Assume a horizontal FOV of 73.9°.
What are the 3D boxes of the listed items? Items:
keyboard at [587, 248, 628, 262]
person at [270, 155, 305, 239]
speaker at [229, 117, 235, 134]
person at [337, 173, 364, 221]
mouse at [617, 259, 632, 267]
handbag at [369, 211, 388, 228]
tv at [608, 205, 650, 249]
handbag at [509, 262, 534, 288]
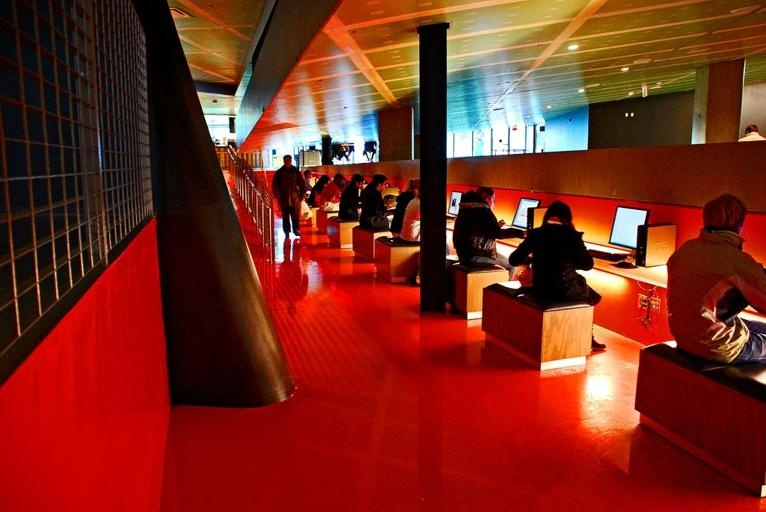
[{"bbox_3d":[2.245,0.000,5.044,0.245,0.069,0.280,1,13,0],"label":"keyboard"},{"bbox_3d":[-2.153,-1.303,11.436,0.727,1.902,1.024,0,11,1],"label":"person"},{"bbox_3d":[-9.390,-8.042,31.222,0.279,0.868,1.443,-5,13,-23],"label":"speaker"},{"bbox_3d":[-0.603,-1.205,10.766,0.591,1.038,0.651,11,13,38],"label":"person"},{"bbox_3d":[2.348,0.083,4.937,0.147,0.049,0.158,2,13,7],"label":"mouse"},{"bbox_3d":[-0.074,-0.634,9.251,0.296,0.318,0.304,10,4,12],"label":"handbag"},{"bbox_3d":[2.609,-0.315,5.425,0.385,0.390,0.368,7,13,-13],"label":"tv"},{"bbox_3d":[1.471,0.200,5.295,0.253,0.270,0.218,4,-2,2],"label":"handbag"}]
